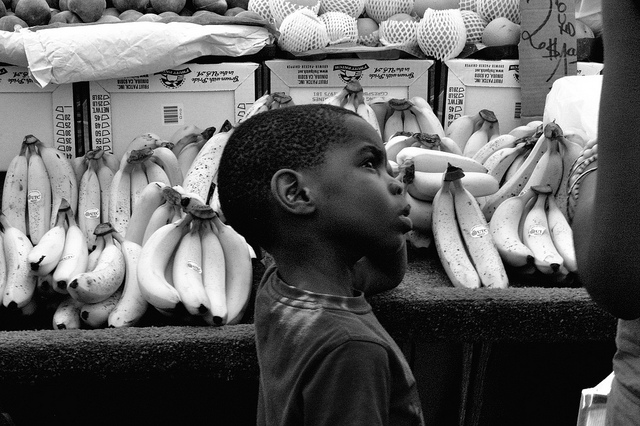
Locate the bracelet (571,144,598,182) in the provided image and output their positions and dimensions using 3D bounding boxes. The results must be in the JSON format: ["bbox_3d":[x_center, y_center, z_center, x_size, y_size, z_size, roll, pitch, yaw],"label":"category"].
[{"bbox_3d":[0.636,-0.125,1.514,0.028,0.077,0.060,39,5,5],"label":"bracelet"}]

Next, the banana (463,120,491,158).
[{"bbox_3d":[0.743,-0.348,2.995,0.054,0.206,0.069,25,-18,14],"label":"banana"}]

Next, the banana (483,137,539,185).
[{"bbox_3d":[0.780,-0.206,2.816,0.099,0.131,0.371,24,-16,-20],"label":"banana"}]

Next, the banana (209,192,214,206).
[{"bbox_3d":[-0.451,-0.053,2.623,0.005,0.036,0.007,30,-8,-29],"label":"banana"}]

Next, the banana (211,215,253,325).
[{"bbox_3d":[-0.294,0.206,2.275,0.112,0.424,0.141,-8,-15,10],"label":"banana"}]

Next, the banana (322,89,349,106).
[{"bbox_3d":[0.071,-0.546,2.975,0.082,0.065,0.176,-5,10,-20],"label":"banana"}]

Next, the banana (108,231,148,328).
[{"bbox_3d":[-0.670,0.236,2.254,0.088,0.331,0.105,-7,-21,13],"label":"banana"}]

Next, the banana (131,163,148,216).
[{"bbox_3d":[-0.735,-0.116,2.664,0.056,0.247,0.083,0,-24,-3],"label":"banana"}]

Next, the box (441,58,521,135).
[{"bbox_3d":[0.859,-0.629,3.420,0.353,0.386,0.378,2,12,7],"label":"box"}]

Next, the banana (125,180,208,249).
[{"bbox_3d":[-0.589,-0.024,2.447,0.188,0.348,0.116,35,-6,27],"label":"banana"}]

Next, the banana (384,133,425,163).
[{"bbox_3d":[0.363,-0.294,2.718,0.158,0.066,0.158,-31,29,-19],"label":"banana"}]

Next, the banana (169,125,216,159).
[{"bbox_3d":[-0.579,-0.321,2.889,0.230,0.094,0.061,-23,46,-9],"label":"banana"}]

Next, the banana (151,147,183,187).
[{"bbox_3d":[-0.648,-0.204,2.706,0.096,0.188,0.051,-25,18,-25],"label":"banana"}]

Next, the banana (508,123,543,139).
[{"bbox_3d":[0.975,-0.372,2.947,0.196,0.065,0.071,-13,11,-16],"label":"banana"}]

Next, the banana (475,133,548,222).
[{"bbox_3d":[0.794,-0.134,2.617,0.134,0.411,0.081,38,-18,-21],"label":"banana"}]

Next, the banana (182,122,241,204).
[{"bbox_3d":[-0.401,-0.174,2.304,0.123,0.373,0.086,27,-34,-5],"label":"banana"}]

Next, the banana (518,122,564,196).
[{"bbox_3d":[0.906,-0.208,2.596,0.147,0.304,0.077,9,7,-37],"label":"banana"}]

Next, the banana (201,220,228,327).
[{"bbox_3d":[-0.369,0.209,2.216,0.071,0.375,0.118,-7,-21,0],"label":"banana"}]

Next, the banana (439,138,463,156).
[{"bbox_3d":[0.570,-0.290,2.780,0.131,0.047,0.036,43,-49,-12],"label":"banana"}]

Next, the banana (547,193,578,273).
[{"bbox_3d":[0.832,0.083,2.188,0.062,0.291,0.100,-29,-45,28],"label":"banana"}]

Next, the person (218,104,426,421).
[{"bbox_3d":[0.002,0.126,1.492,0.459,0.753,0.330,-3,9,-10],"label":"person"}]

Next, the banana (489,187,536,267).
[{"bbox_3d":[0.774,0.061,2.507,0.193,0.121,0.411,2,38,17],"label":"banana"}]

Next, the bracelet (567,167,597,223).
[{"bbox_3d":[0.606,-0.054,1.501,0.098,0.102,0.024,1,-1,-29],"label":"bracelet"}]

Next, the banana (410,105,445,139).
[{"bbox_3d":[0.514,-0.446,3.026,0.170,0.145,0.141,2,10,24],"label":"banana"}]

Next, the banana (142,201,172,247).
[{"bbox_3d":[-0.604,0.039,2.358,0.041,0.161,0.052,29,-6,23],"label":"banana"}]

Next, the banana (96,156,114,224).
[{"bbox_3d":[-0.904,-0.112,2.696,0.068,0.312,0.102,-1,-11,5],"label":"banana"}]

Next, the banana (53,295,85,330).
[{"bbox_3d":[-0.903,0.369,2.251,0.064,0.062,0.217,6,7,-16],"label":"banana"}]

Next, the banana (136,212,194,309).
[{"bbox_3d":[-0.545,0.169,2.254,0.182,0.402,0.111,3,-47,1],"label":"banana"}]

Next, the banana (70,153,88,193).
[{"bbox_3d":[-1.047,-0.203,2.765,0.051,0.232,0.084,13,-28,-25],"label":"banana"}]

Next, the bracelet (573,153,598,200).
[{"bbox_3d":[0.611,-0.087,1.512,0.069,0.094,0.035,7,9,-36],"label":"bracelet"}]

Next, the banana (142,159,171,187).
[{"bbox_3d":[-0.680,-0.167,2.630,0.034,0.123,0.042,-46,-7,39],"label":"banana"}]

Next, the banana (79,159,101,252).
[{"bbox_3d":[-0.935,-0.018,2.584,0.075,0.388,0.120,0,-30,-7],"label":"banana"}]

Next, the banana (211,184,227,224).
[{"bbox_3d":[-0.325,-0.022,2.038,0.032,0.164,0.054,0,-35,-19],"label":"banana"}]

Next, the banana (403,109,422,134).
[{"bbox_3d":[0.453,-0.440,3.096,0.043,0.185,0.064,-11,10,16],"label":"banana"}]

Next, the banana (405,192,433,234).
[{"bbox_3d":[0.400,0.012,2.522,0.060,0.165,0.152,-29,-22,28],"label":"banana"}]

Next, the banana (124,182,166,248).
[{"bbox_3d":[-0.665,0.015,2.428,0.054,0.235,0.075,26,18,-3],"label":"banana"}]

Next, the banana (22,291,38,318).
[{"bbox_3d":[-1.054,0.339,2.315,0.028,0.077,0.075,2,10,22],"label":"banana"}]
